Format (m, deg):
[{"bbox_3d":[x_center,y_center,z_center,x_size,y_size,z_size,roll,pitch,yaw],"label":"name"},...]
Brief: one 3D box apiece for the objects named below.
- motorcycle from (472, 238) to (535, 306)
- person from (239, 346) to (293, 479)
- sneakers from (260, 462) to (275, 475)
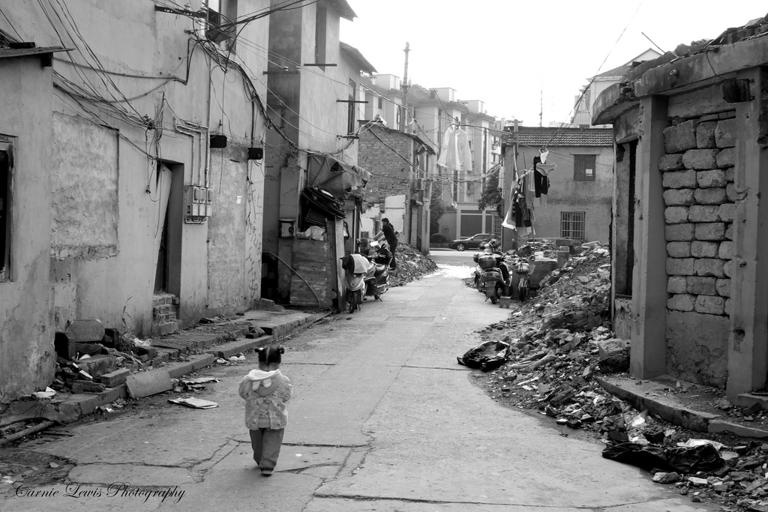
[{"bbox_3d":[3.730,0.579,23.863,1.531,1.589,2.556,1,4,22],"label":"motorcycle"},{"bbox_3d":[-1.381,1.820,9.184,0.567,1.389,0.665,-3,11,-23],"label":"person"},{"bbox_3d":[-1.360,2.496,9.011,0.157,0.111,0.138,-1,10,-11],"label":"sneakers"}]
